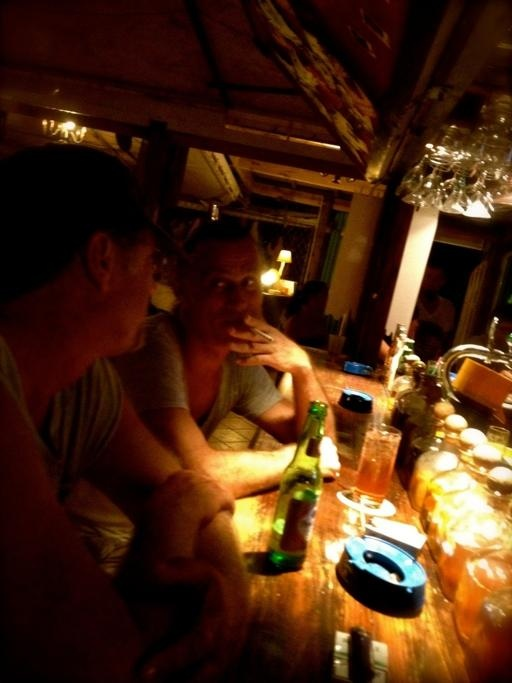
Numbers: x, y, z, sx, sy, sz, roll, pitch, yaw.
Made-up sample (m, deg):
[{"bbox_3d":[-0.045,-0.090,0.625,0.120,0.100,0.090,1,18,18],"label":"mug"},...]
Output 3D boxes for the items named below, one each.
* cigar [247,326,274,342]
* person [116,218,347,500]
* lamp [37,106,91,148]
[{"bbox_3d":[0.023,-0.023,2.093,0.031,0.038,0.130,-24,-45,39],"label":"cigar"},{"bbox_3d":[-0.130,0.010,2.053,0.947,0.821,0.660,15,19,38],"label":"person"},{"bbox_3d":[-2.236,-2.421,6.246,0.422,0.204,1.786,7,7,-23],"label":"lamp"}]
